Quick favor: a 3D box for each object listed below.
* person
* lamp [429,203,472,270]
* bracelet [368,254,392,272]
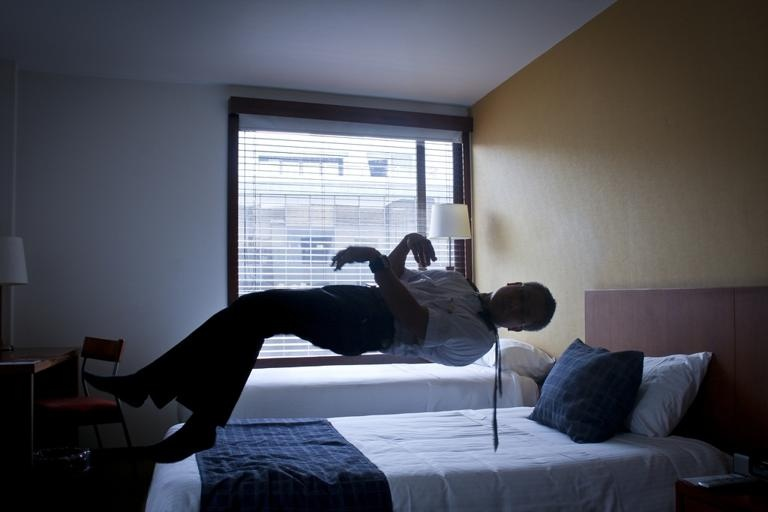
[{"bbox_3d":[-0.281,0.560,3.407,2.643,1.347,0.855,-1,2,-11],"label":"person"},{"bbox_3d":[0.695,-0.194,5.856,0.602,0.688,0.622,1,4,27],"label":"lamp"},{"bbox_3d":[-0.017,0.039,3.302,0.117,0.086,0.126,-26,-13,33],"label":"bracelet"}]
